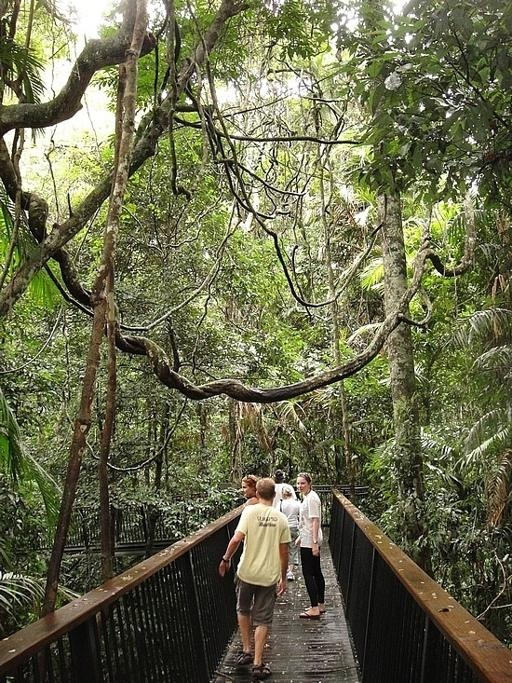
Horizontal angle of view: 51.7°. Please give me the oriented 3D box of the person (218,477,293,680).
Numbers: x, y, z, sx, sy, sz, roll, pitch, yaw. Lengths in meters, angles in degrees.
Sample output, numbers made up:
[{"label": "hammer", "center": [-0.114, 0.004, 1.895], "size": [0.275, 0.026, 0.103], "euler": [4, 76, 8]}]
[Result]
[{"label": "person", "center": [-0.033, 1.733, 3.999], "size": [0.440, 1.329, 0.503], "euler": [-12, -16, 32]}]

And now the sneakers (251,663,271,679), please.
[{"label": "sneakers", "center": [0.030, 2.241, 3.599], "size": [0.071, 0.085, 0.200], "euler": [-11, -29, 21]}]

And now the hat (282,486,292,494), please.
[{"label": "hat", "center": [0.396, 1.874, 6.707], "size": [0.074, 0.102, 0.105], "euler": [0, -50, -1]}]

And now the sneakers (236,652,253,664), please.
[{"label": "sneakers", "center": [-0.080, 2.346, 3.914], "size": [0.116, 0.104, 0.093], "euler": [-3, -14, -4]}]

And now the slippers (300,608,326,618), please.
[{"label": "slippers", "center": [0.569, 2.756, 5.407], "size": [0.265, 0.111, 0.102], "euler": [3, -18, -1]}]
